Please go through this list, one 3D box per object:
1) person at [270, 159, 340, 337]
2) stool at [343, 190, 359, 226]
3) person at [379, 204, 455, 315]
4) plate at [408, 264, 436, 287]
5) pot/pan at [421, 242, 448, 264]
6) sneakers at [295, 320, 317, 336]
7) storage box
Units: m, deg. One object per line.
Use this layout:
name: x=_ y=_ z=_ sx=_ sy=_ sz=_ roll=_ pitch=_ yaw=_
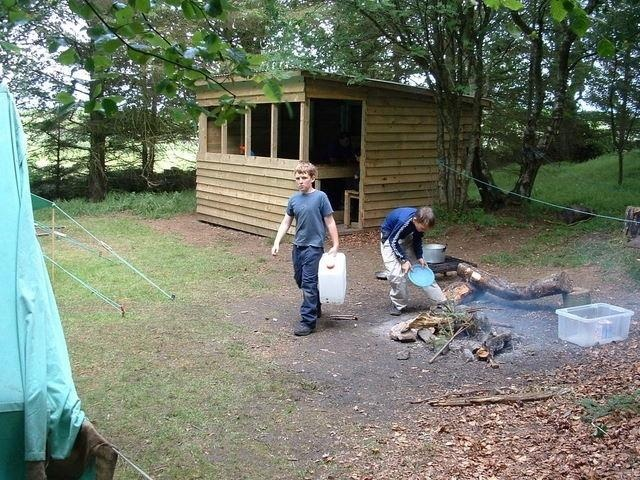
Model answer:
person: x=-0.190 y=0.093 z=7.146 sx=0.783 sy=2.156 sz=0.598 roll=-3 pitch=9 yaw=-15
stool: x=0.709 y=-0.735 z=13.031 sx=0.365 sy=0.845 sz=0.855 roll=-1 pitch=7 yaw=2
person: x=1.143 y=0.295 z=7.476 sx=0.514 sy=1.464 sz=0.813 roll=-5 pitch=9 yaw=-26
plate: x=1.339 y=0.483 z=7.441 sx=0.325 sy=0.306 sz=0.413 roll=1 pitch=7 yaw=15
pot/pan: x=1.855 y=0.213 z=9.268 sx=0.392 sy=0.205 sz=0.336 roll=1 pitch=11 yaw=4
sneakers: x=-0.196 y=1.129 z=7.107 sx=0.127 sy=0.124 sz=0.302 roll=-1 pitch=-3 yaw=36
storage box: x=3.147 y=0.951 z=6.399 sx=0.750 sy=0.267 sz=0.508 roll=-7 pitch=11 yaw=-16
